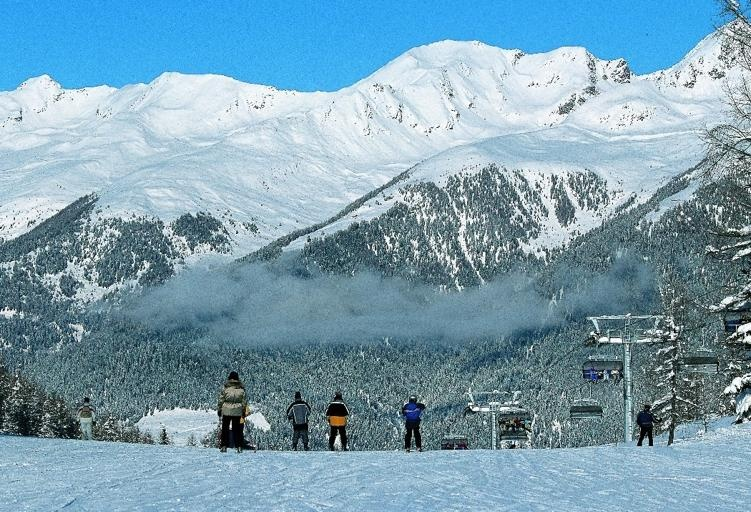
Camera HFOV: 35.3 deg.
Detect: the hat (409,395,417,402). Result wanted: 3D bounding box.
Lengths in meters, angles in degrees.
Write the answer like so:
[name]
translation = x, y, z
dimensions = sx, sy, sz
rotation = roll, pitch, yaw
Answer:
[hat]
translation = 7.101, 27.310, 222.762
dimensions = 0.920, 0.550, 1.229
rotation = 8, -56, -3
